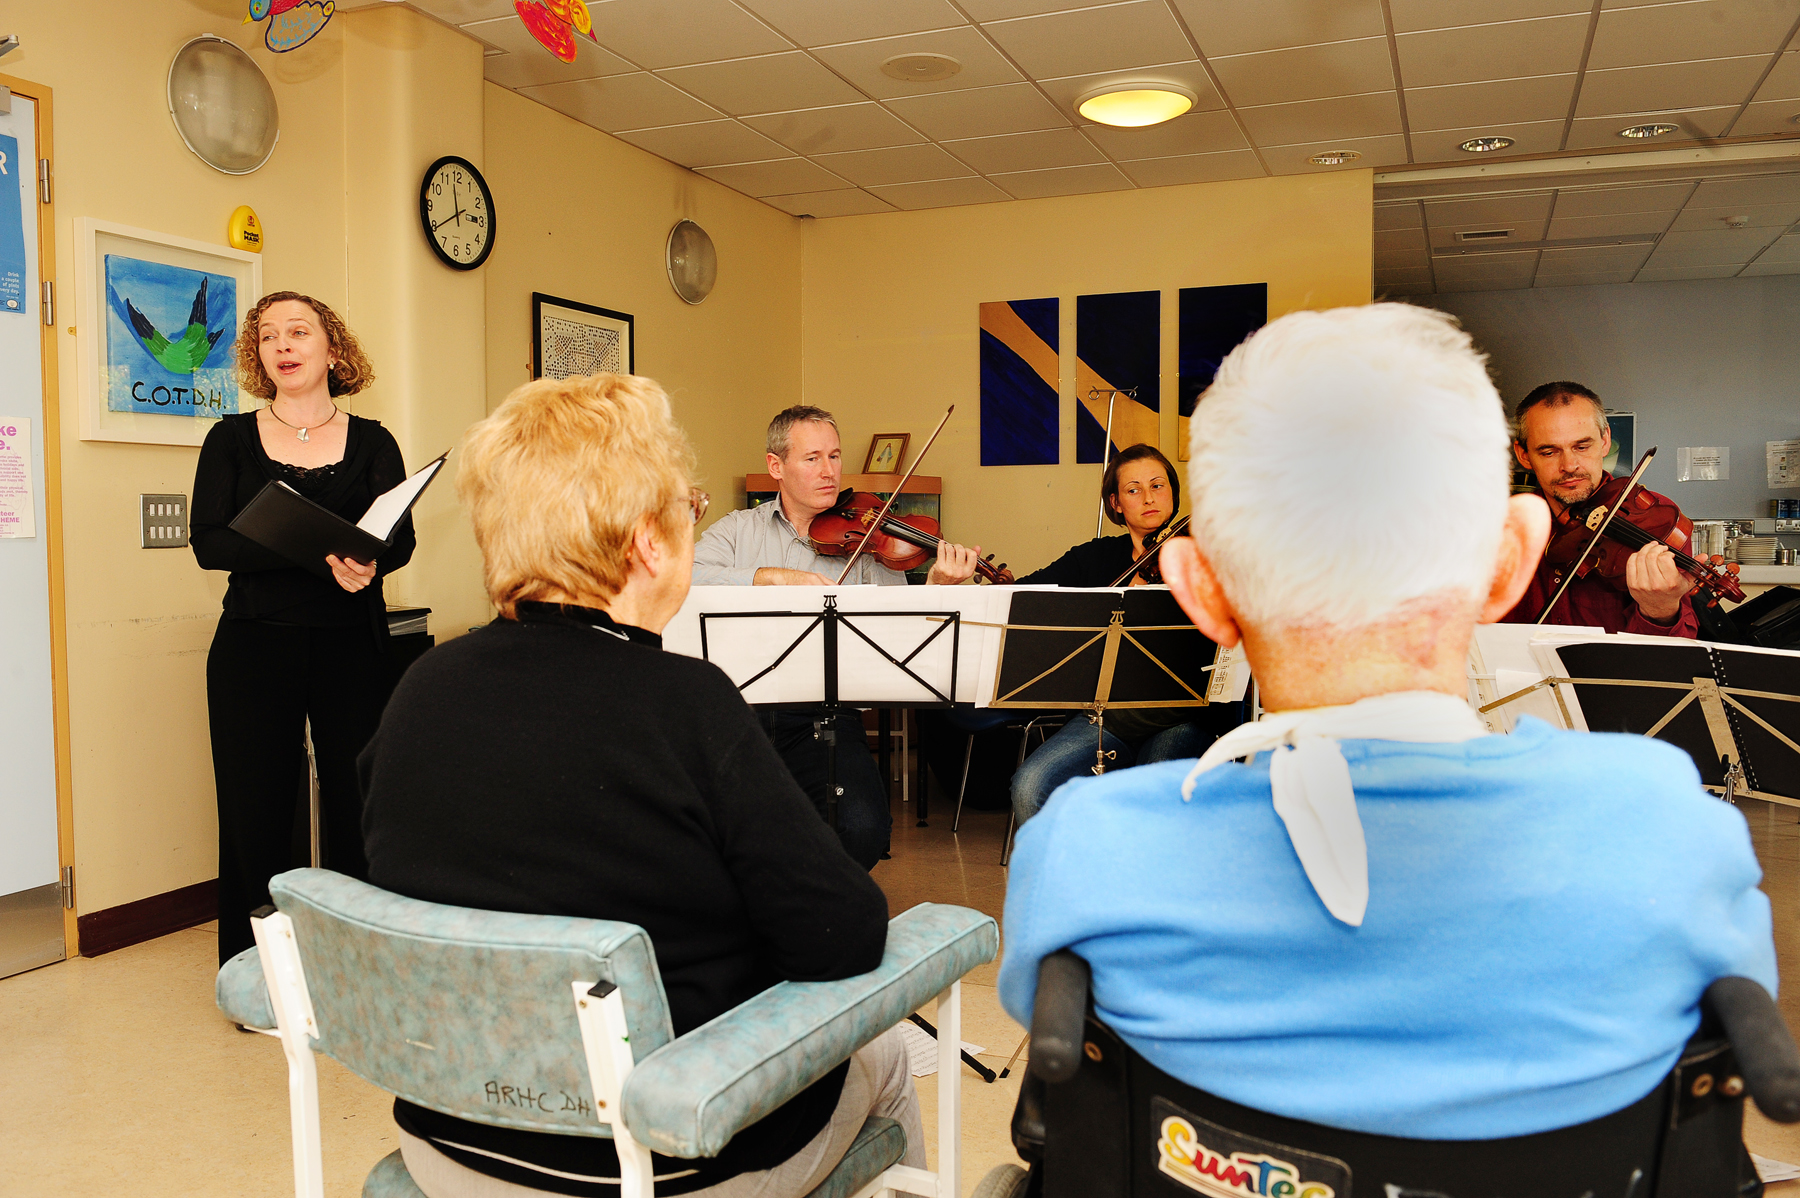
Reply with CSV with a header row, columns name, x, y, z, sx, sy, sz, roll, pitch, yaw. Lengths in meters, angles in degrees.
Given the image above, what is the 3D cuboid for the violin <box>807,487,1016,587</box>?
name,x,y,z,sx,sy,sz,roll,pitch,yaw
violin,0.010,-0.157,4.942,0.711,0.305,0.119,21,-19,-24

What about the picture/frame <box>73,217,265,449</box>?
name,x,y,z,sx,sy,sz,roll,pitch,yaw
picture/frame,-2.255,-0.801,4.304,0.614,0.595,0.037,9,13,15

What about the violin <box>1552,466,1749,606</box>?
name,x,y,z,sx,sy,sz,roll,pitch,yaw
violin,2.095,-0.112,3.843,0.418,0.530,0.155,35,-27,-14

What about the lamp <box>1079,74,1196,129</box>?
name,x,y,z,sx,sy,sz,roll,pitch,yaw
lamp,0.950,-2.014,5.610,0.462,0.119,0.373,2,10,8

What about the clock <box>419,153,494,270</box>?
name,x,y,z,sx,sy,sz,roll,pitch,yaw
clock,-1.634,-1.419,5.072,0.392,0.379,0.022,12,20,30

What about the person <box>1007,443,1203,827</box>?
name,x,y,z,sx,sy,sz,roll,pitch,yaw
person,0.719,0.242,4.422,0.723,1.477,0.595,4,-7,-13
